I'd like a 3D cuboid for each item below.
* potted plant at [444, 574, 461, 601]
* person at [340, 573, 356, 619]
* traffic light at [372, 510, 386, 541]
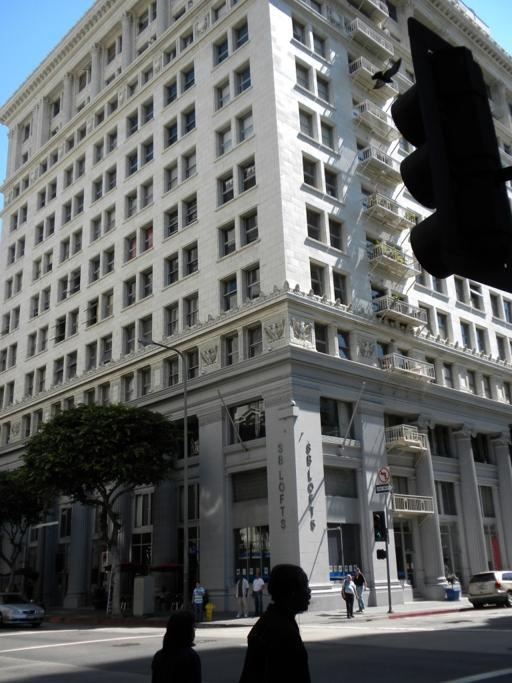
[{"bbox_3d":[10.893,13.872,34.740,1.055,1.440,1.049,16,-21,-32],"label":"potted plant"},{"bbox_3d":[3.869,10.701,25.987,0.494,1.662,1.498,-5,-21,6],"label":"person"},{"bbox_3d":[5.044,7.919,26.342,0.309,1.124,0.826,-1,-3,38],"label":"traffic light"}]
